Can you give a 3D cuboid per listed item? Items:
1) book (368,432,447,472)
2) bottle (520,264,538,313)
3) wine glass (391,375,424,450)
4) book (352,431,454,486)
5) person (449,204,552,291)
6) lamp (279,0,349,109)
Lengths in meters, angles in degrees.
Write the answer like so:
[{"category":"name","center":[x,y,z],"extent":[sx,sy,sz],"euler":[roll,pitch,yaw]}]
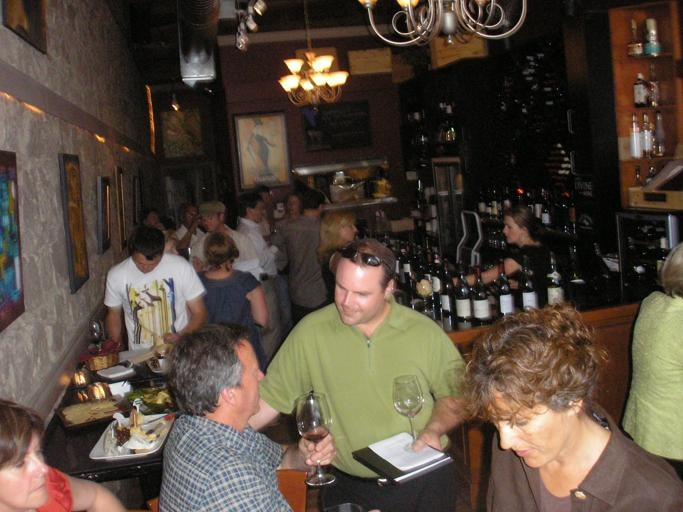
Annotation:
[{"category":"book","center":[0.290,0.846,2.291],"extent":[0.183,0.030,0.203],"euler":[-9,16,-32]},{"category":"bottle","center":[1.442,0.282,4.151],"extent":[0.141,0.443,0.154],"euler":[5,-36,3]},{"category":"wine glass","center":[0.317,0.723,2.463],"extent":[0.134,0.362,0.129],"euler":[-6,9,20]},{"category":"book","center":[0.246,0.857,2.253],"extent":[0.328,0.096,0.281],"euler":[-4,2,-25]},{"category":"person","center":[1.350,-0.067,4.809],"extent":[0.913,1.058,0.579],"euler":[0,-3,-1]},{"category":"lamp","center":[-0.468,-2.846,7.455],"extent":[0.800,1.868,1.839],"euler":[-3,2,-10]}]
